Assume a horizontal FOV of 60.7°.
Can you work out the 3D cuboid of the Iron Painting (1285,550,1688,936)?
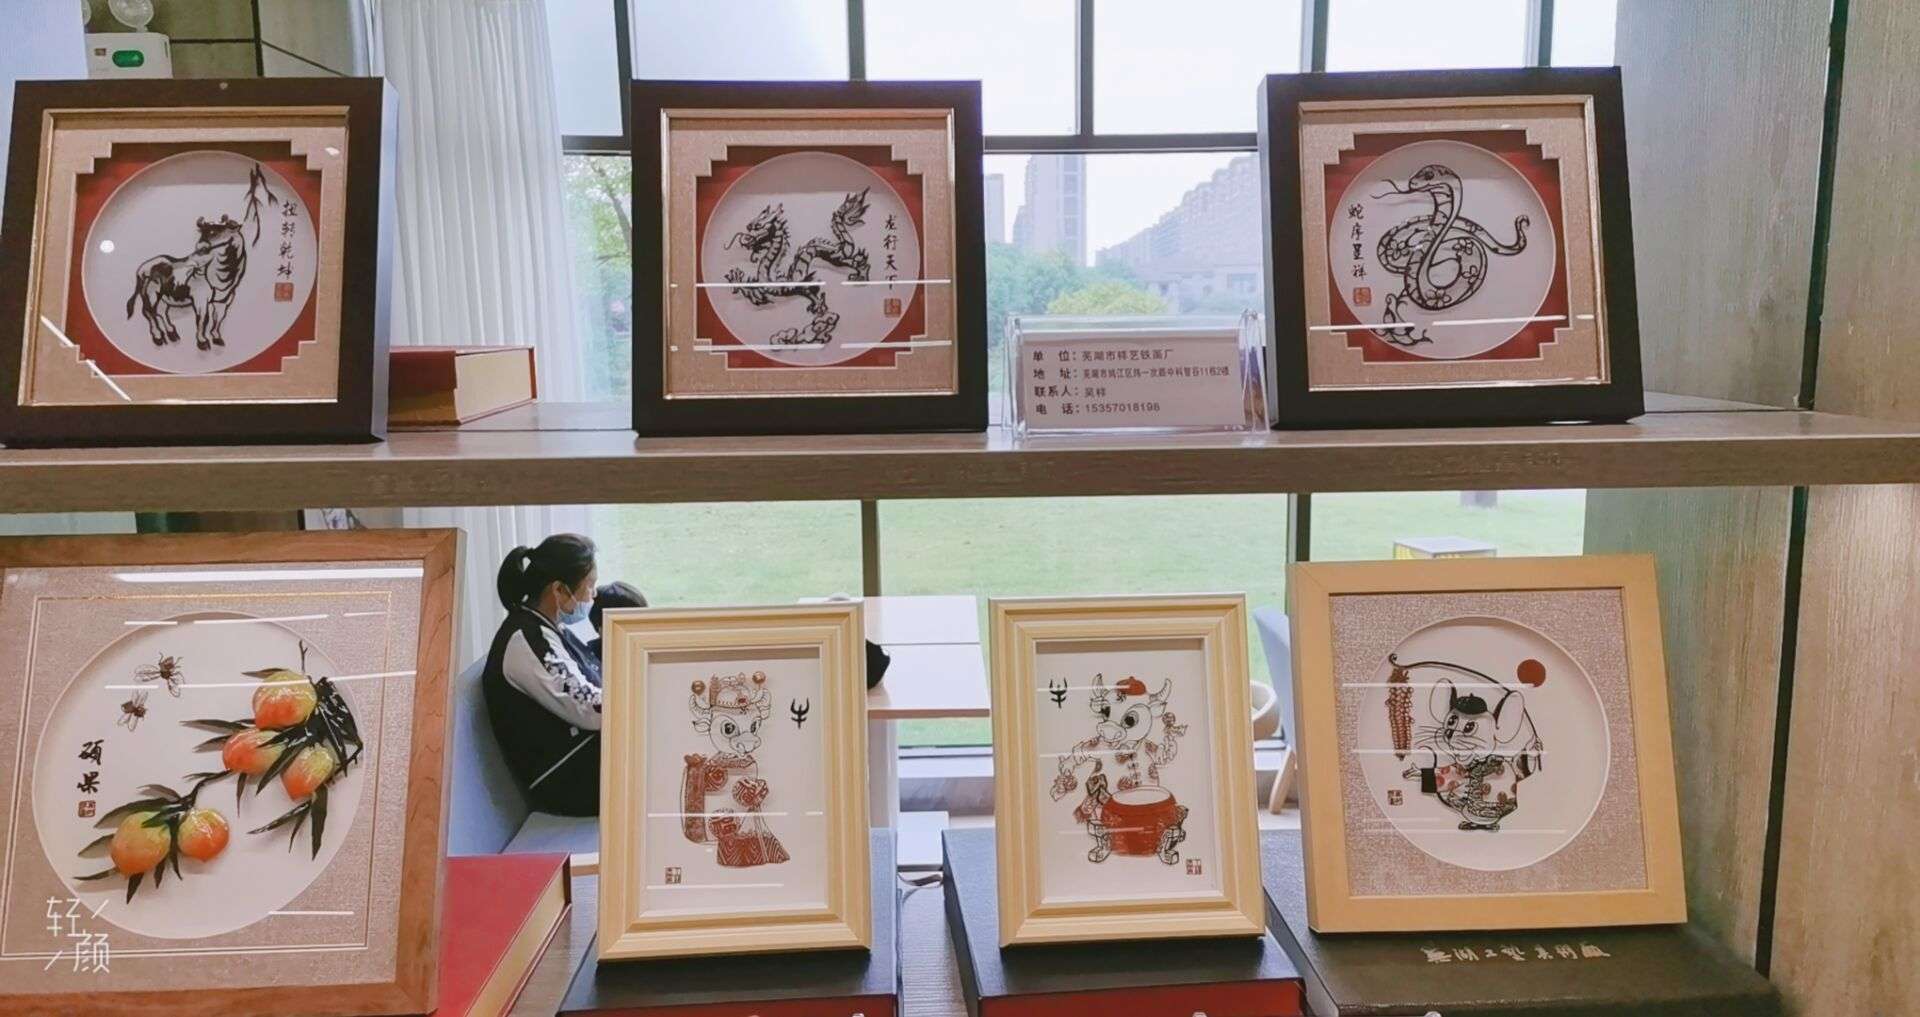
[{"bbox_3d":[0.837,0.374,2.618,0.599,0.593,0.070,-2,2,-2],"label":"Iron Painting"}]

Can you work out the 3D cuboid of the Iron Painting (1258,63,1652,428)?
[{"bbox_3d":[0.757,-0.399,2.539,0.596,0.556,0.060,-1,-8,-2],"label":"Iron Painting"}]
